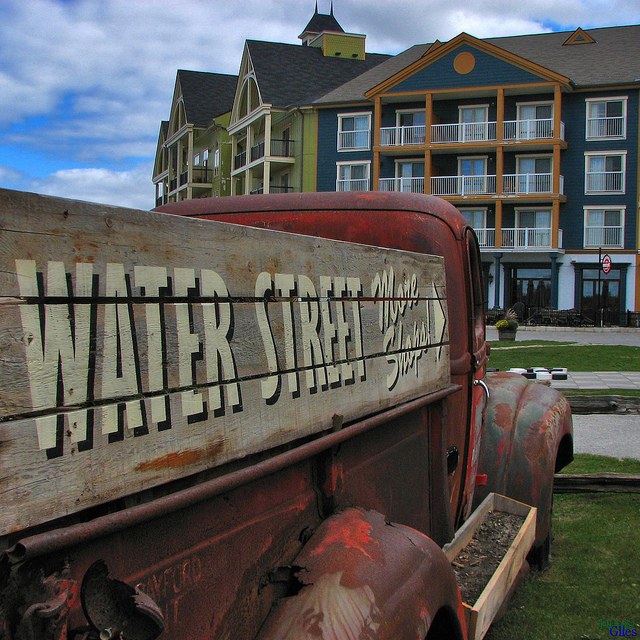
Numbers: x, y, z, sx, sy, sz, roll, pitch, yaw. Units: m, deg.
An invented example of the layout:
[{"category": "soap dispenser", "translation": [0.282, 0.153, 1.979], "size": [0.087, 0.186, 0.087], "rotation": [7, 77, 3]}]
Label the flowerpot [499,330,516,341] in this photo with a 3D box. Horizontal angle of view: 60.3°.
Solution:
[{"category": "flowerpot", "translation": [8.267, 0.627, 24.559], "size": [0.507, 0.368, 0.495], "rotation": [0, 3, -42]}]

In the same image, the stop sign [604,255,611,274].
[{"category": "stop sign", "translation": [17.298, -3.434, 33.532], "size": [0.245, 0.920, 1.050], "rotation": [1, 3, 26]}]
